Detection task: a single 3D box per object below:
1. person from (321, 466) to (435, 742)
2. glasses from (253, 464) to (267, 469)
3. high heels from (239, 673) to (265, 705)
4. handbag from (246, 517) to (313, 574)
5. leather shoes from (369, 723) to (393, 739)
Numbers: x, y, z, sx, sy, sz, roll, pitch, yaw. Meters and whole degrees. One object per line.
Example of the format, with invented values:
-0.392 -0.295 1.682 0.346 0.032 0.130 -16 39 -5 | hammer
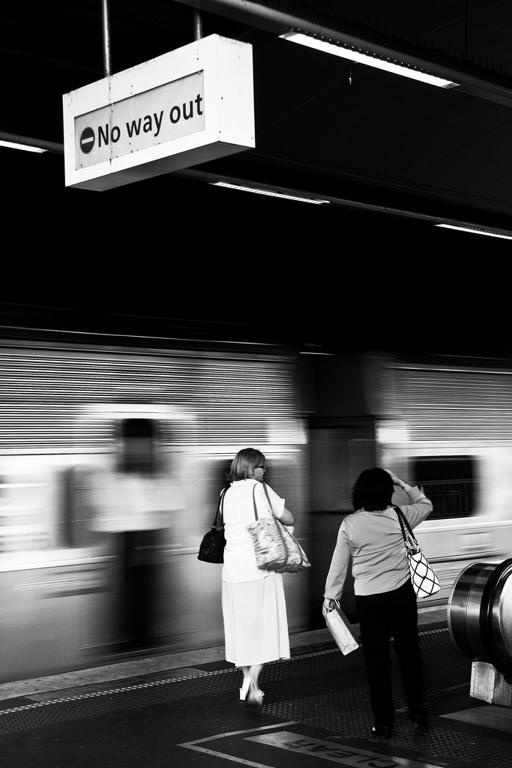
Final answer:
0.643 1.066 3.262 0.510 1.450 0.342 -9 7 -15 | person
0.027 0.528 3.986 0.078 0.031 0.087 -7 -4 14 | glasses
-0.033 1.878 3.846 0.158 0.175 0.209 -1 -13 3 | high heels
0.134 0.978 3.800 0.346 0.320 0.182 -1 -12 3 | handbag
0.621 1.712 3.069 0.108 0.067 0.072 -5 -14 19 | leather shoes
